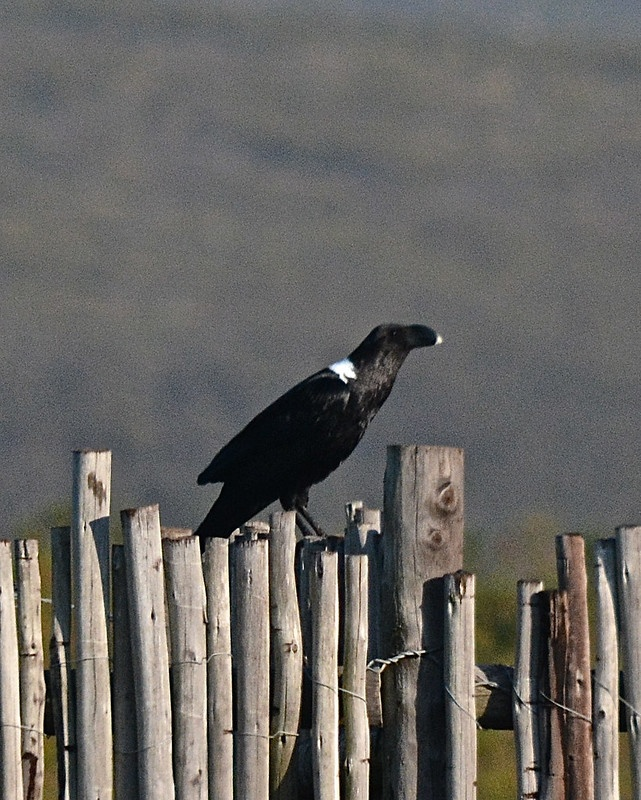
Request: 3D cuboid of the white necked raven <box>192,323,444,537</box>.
[{"bbox_3d":[-0.100,0.188,9.621,0.885,0.481,1.006,2,68,16],"label":"white necked raven"}]
